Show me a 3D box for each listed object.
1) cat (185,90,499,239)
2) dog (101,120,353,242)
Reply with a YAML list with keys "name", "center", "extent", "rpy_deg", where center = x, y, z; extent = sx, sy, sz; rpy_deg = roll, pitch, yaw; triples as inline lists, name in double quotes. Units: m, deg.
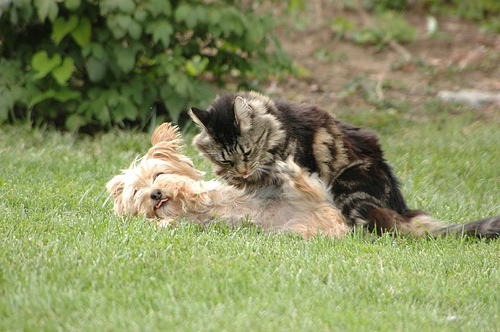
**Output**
- name: "cat"
  center: [1.023, 0.029, 6.193]
  extent: [3.092, 1.295, 0.897]
  rpy_deg: [11, -10, 1]
- name: "dog"
  center: [-0.127, 0.232, 6.234]
  extent: [2.496, 1.046, 1.229]
  rpy_deg: [7, 72, 3]
